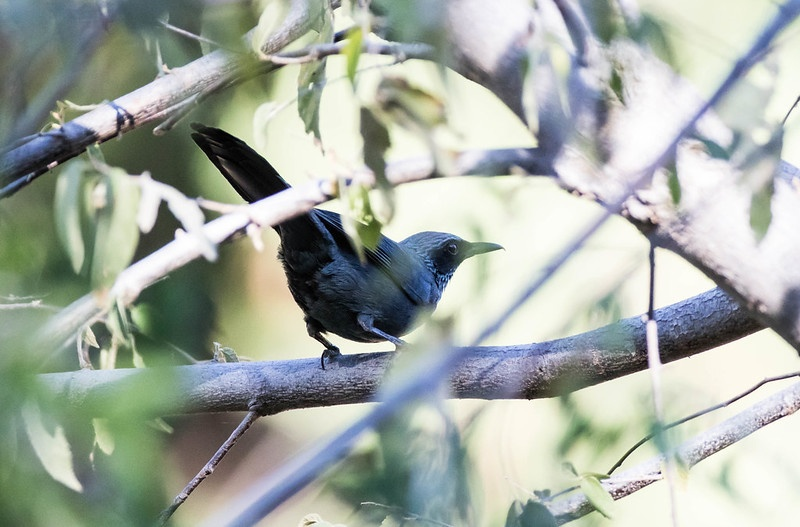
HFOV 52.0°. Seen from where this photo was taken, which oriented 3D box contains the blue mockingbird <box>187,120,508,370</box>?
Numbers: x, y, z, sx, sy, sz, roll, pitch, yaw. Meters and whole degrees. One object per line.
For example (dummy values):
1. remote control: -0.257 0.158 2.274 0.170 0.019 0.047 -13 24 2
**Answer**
1. blue mockingbird: -0.308 0.040 4.947 1.979 1.183 0.666 17 -24 -36
